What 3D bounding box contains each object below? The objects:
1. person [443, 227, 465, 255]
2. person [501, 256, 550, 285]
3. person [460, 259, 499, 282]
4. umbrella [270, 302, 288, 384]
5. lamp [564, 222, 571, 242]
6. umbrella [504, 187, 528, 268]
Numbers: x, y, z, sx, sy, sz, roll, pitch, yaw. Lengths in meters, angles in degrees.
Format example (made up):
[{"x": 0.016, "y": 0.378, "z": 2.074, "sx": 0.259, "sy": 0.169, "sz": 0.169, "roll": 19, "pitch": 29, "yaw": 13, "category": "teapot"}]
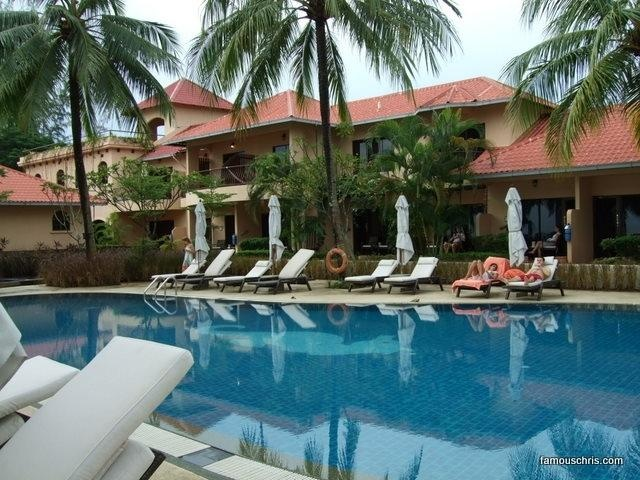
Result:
[{"x": 5.723, "y": 0.131, "z": 22.057, "sx": 0.652, "sy": 1.235, "sz": 2.135, "roll": 6, "pitch": 13, "yaw": 17, "category": "person"}, {"x": 5.501, "y": 0.904, "z": 14.016, "sx": 0.976, "sy": 0.448, "sz": 0.655, "roll": -9, "pitch": -1, "yaw": -42, "category": "person"}, {"x": 4.498, "y": 0.882, "z": 14.766, "sx": 0.718, "sy": 0.416, "sz": 0.474, "roll": 10, "pitch": 6, "yaw": 41, "category": "person"}, {"x": -0.761, "y": 1.931, "z": 9.585, "sx": 0.275, "sy": 1.921, "sz": 0.334, "roll": 16, "pitch": 31, "yaw": 27, "category": "umbrella"}, {"x": 8.633, "y": -0.245, "z": 18.485, "sx": 0.174, "sy": 0.665, "sz": 0.321, "roll": -1, "pitch": 3, "yaw": 3, "category": "lamp"}, {"x": 5.623, "y": -0.339, "z": 15.262, "sx": 0.512, "sy": 2.366, "sz": 1.217, "roll": 0, "pitch": 3, "yaw": 21, "category": "umbrella"}]
